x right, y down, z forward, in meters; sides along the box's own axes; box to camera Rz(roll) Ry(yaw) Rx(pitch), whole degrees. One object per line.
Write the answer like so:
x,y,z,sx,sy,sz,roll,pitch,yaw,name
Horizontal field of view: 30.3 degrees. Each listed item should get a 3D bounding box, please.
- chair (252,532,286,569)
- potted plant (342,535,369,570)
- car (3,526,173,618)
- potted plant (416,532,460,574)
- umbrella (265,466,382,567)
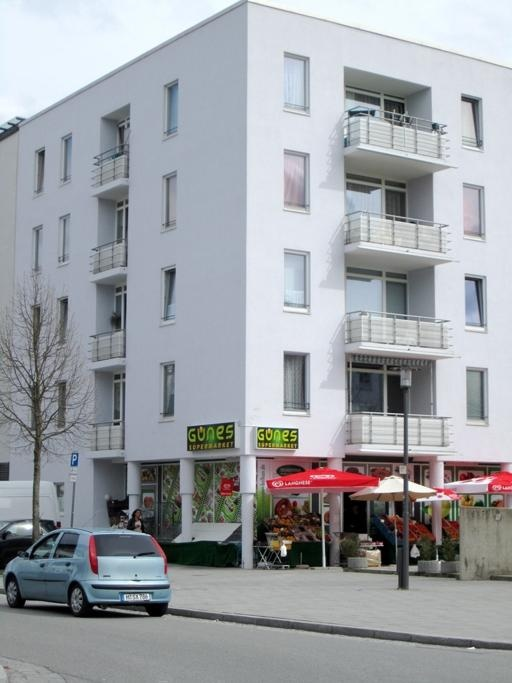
0.421,6.024,26.867,0.806,0.910,0.736,2,-9,5,chair
2.681,5.747,25.796,0.653,0.957,1.221,-1,-11,2,potted plant
-2.482,3.282,14.057,1.257,1.123,2.202,9,-8,-39,car
4.687,5.349,23.686,0.829,0.982,0.980,11,-15,-36,potted plant
1.737,4.944,26.453,2.776,2.755,3.309,1,-11,-8,umbrella
